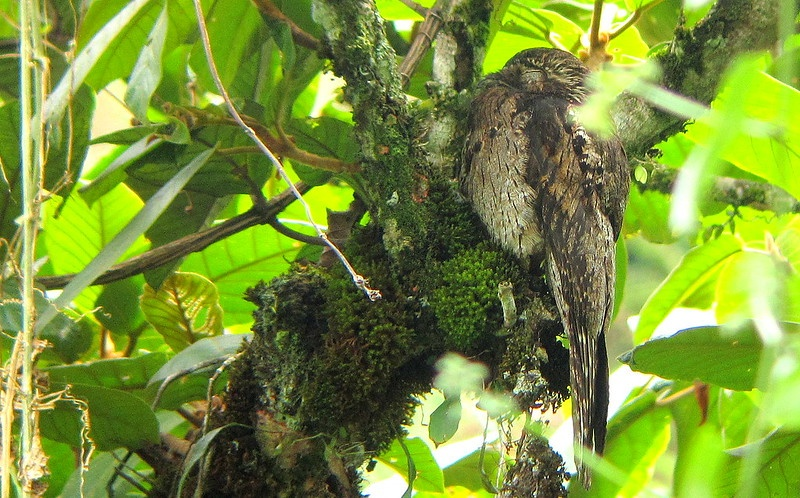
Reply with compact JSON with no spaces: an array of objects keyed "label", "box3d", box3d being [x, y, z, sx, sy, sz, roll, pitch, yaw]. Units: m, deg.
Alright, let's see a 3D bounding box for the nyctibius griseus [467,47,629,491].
[{"label":"nyctibius griseus","box3d":[0.187,0.001,1.377,0.203,0.522,0.080,-6,-1,3]}]
